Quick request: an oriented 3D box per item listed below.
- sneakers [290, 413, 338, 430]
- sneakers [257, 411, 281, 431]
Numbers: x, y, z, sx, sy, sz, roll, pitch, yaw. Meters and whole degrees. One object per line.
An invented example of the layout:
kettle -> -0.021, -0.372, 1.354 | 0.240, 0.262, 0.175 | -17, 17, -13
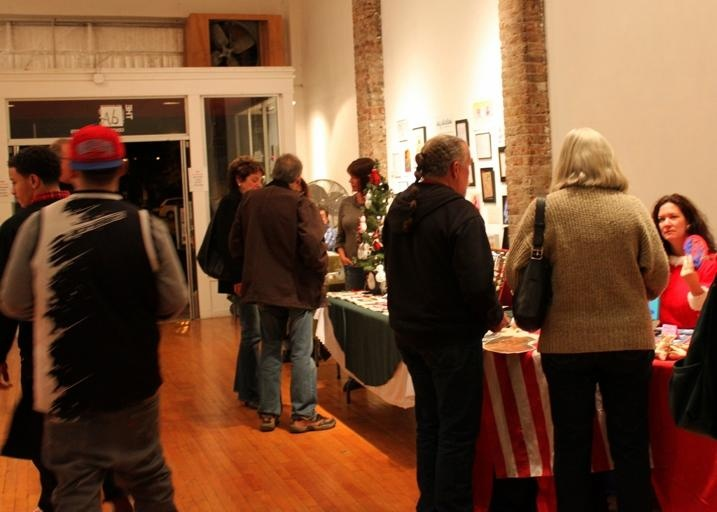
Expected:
sneakers -> -0.360, 1.292, 4.577 | 0.362, 0.153, 0.127 | -1, 2, -16
sneakers -> -0.710, 1.293, 4.554 | 0.084, 0.087, 0.211 | 0, 0, 1
